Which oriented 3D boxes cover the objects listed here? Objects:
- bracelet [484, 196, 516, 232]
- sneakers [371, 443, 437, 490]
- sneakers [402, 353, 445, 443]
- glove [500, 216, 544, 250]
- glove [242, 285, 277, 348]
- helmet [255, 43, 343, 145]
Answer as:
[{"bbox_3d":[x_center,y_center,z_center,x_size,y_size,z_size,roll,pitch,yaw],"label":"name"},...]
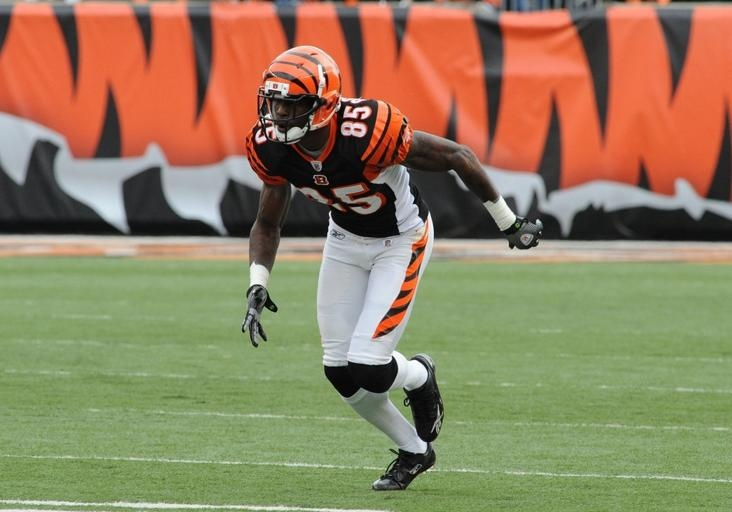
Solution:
[{"bbox_3d":[0.970,-0.298,9.409,0.177,0.241,0.171,-19,-10,-4],"label":"bracelet"},{"bbox_3d":[0.267,1.438,9.362,0.509,0.185,0.198,-27,22,-24],"label":"sneakers"},{"bbox_3d":[0.429,0.998,9.480,0.235,0.614,0.269,-9,6,28],"label":"sneakers"},{"bbox_3d":[1.107,-0.119,9.437,0.269,0.331,0.162,1,48,1],"label":"glove"},{"bbox_3d":[-0.796,0.405,9.251,0.139,0.416,0.298,-15,-22,22],"label":"glove"},{"bbox_3d":[-0.452,-1.092,9.211,0.565,0.642,0.348,-3,13,-12],"label":"helmet"}]
